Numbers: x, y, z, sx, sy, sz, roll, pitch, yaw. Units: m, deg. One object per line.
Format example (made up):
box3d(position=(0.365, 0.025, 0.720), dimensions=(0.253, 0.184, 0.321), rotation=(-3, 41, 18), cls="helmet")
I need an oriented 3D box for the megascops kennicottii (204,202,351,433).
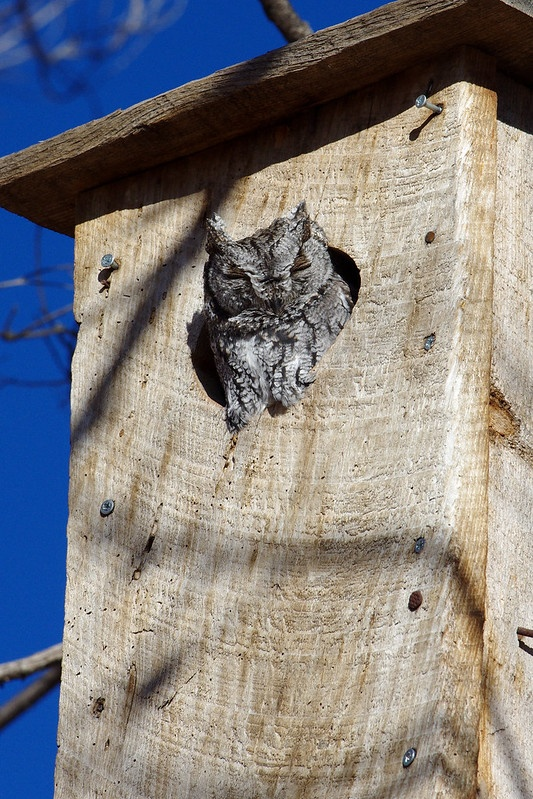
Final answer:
box3d(position=(0.018, -0.220, 3.390), dimensions=(0.241, 0.440, 0.304), rotation=(-5, 38, 3), cls="megascops kennicottii")
